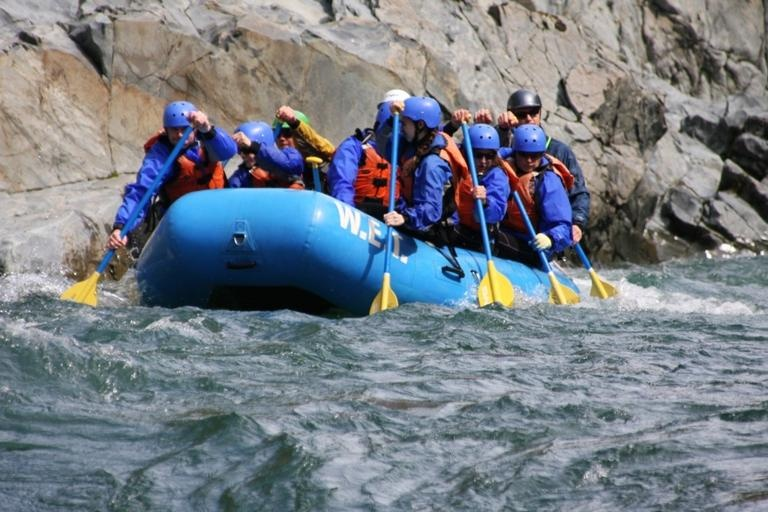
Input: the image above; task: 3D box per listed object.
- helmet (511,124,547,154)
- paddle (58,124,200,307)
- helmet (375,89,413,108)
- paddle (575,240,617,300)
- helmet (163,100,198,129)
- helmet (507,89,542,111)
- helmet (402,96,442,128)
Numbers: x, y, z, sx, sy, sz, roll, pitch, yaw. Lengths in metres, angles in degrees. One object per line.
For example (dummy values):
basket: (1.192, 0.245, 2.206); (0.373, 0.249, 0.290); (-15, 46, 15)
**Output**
helmet: (2.002, -1.620, 19.304); (0.478, 0.450, 0.276); (1, -15, 5)
paddle: (-3.618, -0.470, 19.563); (0.432, 3.196, 0.153); (30, -25, -5)
helmet: (0.153, -2.255, 19.497); (0.496, 0.176, 0.343); (-8, -13, -13)
paddle: (2.935, 0.274, 19.630); (0.370, 1.099, 0.103); (-30, -10, 3)
helmet: (-2.786, -1.918, 18.796); (0.314, 0.320, 0.422); (-2, -25, -10)
helmet: (1.998, -2.261, 20.253); (0.337, 0.314, 0.373); (-11, 13, -13)
helmet: (0.498, -1.941, 18.852); (0.483, 0.362, 0.393); (-5, 20, -1)
